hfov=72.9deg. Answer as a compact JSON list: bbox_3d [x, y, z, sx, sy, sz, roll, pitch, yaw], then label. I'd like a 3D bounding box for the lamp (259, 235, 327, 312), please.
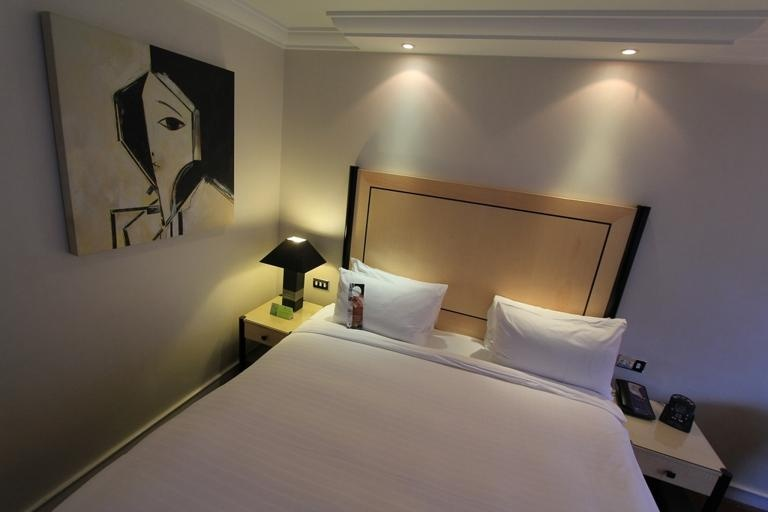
[{"bbox_3d":[-0.723,0.145,4.227,0.404,0.578,0.428,11,13,20],"label":"lamp"}]

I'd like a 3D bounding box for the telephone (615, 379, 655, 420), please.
[{"bbox_3d":[1.776,0.962,3.650,0.082,0.348,0.240,-35,31,-27],"label":"telephone"}]

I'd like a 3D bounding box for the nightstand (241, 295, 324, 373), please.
[{"bbox_3d":[-0.828,0.515,4.286,0.563,0.540,0.570,14,18,20],"label":"nightstand"}]
